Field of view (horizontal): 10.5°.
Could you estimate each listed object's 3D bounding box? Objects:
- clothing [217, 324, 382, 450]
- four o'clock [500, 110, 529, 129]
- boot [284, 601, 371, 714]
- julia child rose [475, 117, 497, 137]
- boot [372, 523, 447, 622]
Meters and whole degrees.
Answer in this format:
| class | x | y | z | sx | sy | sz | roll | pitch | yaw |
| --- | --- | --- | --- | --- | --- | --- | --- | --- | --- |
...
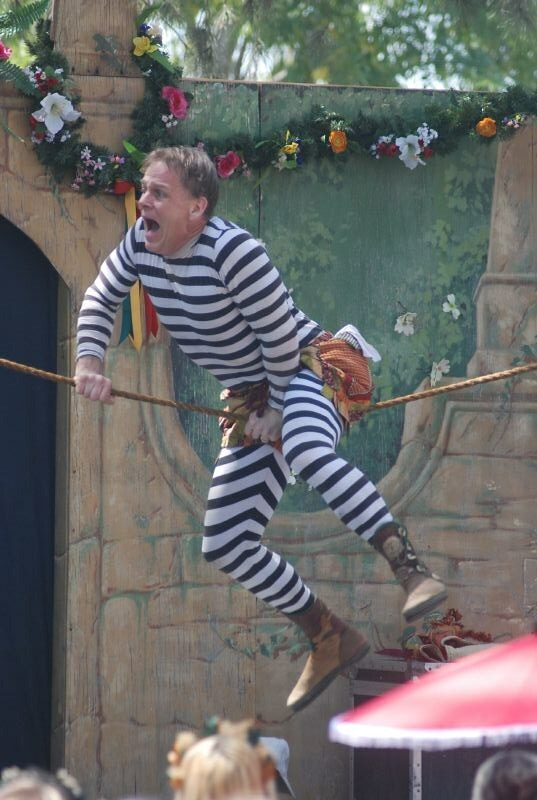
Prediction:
| class | x | y | z | sx | sy | sz | roll | pitch | yaw |
| --- | --- | --- | --- | --- | --- | --- | --- | --- | --- |
| clothing | 0.141 | -0.076 | 13.496 | 0.619 | 0.514 | 0.306 | -32 | -13 | -4 |
| four o'clock | 1.230 | -1.416 | 14.749 | 0.149 | 0.084 | 0.065 | 4 | -8 | -20 |
| boot | 0.195 | 1.095 | 13.619 | 0.512 | 0.177 | 0.383 | -43 | -56 | 9 |
| julia child rose | 1.079 | -1.388 | 14.750 | 0.108 | 0.095 | 0.088 | 1 | -7 | -2 |
| boot | 0.625 | 0.734 | 13.233 | 0.153 | 0.417 | 0.415 | -28 | 4 | 5 |
